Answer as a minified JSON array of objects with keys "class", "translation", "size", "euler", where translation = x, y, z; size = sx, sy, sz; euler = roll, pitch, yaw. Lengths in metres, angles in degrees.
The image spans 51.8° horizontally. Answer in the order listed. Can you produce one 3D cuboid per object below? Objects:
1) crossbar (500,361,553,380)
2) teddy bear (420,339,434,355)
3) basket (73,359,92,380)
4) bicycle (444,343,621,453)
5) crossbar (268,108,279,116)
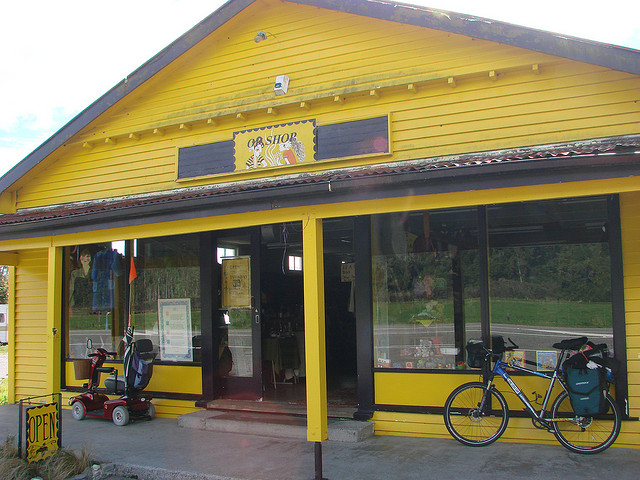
[{"class":"crossbar","translation":[2.936,1.841,9.336],"size":[0.790,0.074,0.056],"euler":[16,-13,19]},{"class":"teddy bear","translation":[1.560,1.586,9.839],"size":[0.207,0.181,0.050],"euler":[0,-2,31]},{"class":"basket","translation":[-4.319,2.323,11.939],"size":[0.360,0.367,0.368],"euler":[-6,-9,31]},{"class":"bicycle","translation":[2.920,2.183,9.174],"size":[2.559,1.424,1.150],"euler":[-10,-27,39]},{"class":"crossbar","translation":[-0.793,-2.183,11.166],"size":[0.186,0.095,0.121],"euler":[-2,1,-10]}]
